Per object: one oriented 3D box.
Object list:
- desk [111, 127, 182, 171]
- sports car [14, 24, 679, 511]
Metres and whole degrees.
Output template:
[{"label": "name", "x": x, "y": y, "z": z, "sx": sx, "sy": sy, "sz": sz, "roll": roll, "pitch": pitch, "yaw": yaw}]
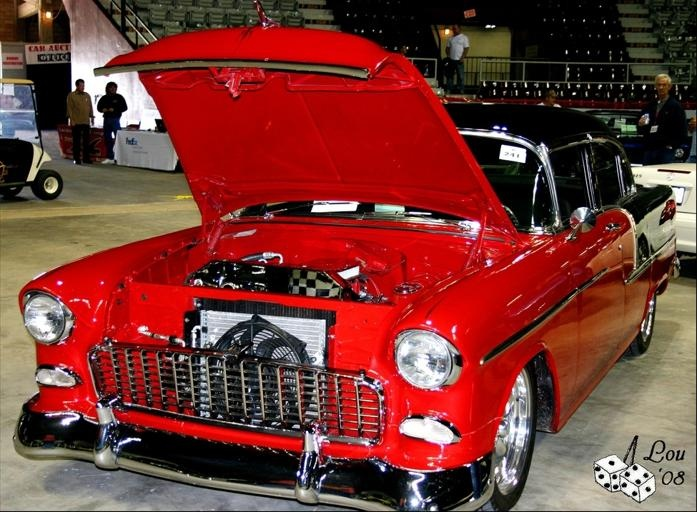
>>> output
[{"label": "desk", "x": -6.514, "y": -3.703, "z": 19.126, "sx": 2.603, "sy": 1.220, "sz": 1.697, "roll": 9, "pitch": 22, "yaw": 23}, {"label": "sports car", "x": 0.499, "y": -0.235, "z": 3.898, "sx": 2.237, "sy": 1.705, "sz": 3.940, "roll": 3, "pitch": 11, "yaw": 27}]
